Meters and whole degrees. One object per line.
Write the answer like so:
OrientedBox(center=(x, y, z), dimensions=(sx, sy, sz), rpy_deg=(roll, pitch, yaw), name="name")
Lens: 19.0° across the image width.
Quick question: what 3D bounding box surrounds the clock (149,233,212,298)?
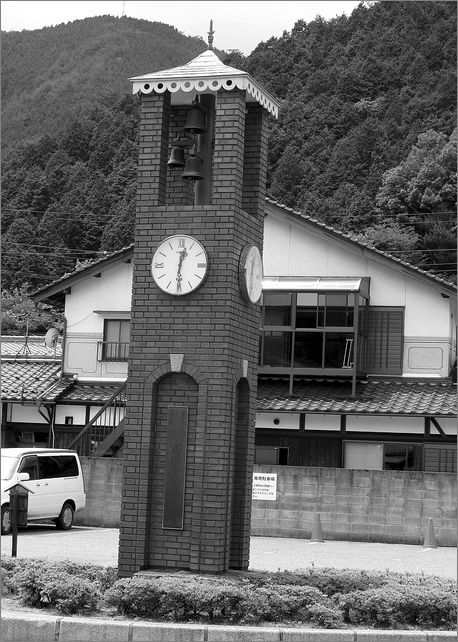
OrientedBox(center=(-0.534, -0.639, 16.198), dimensions=(0.659, 0.793, 0.100), rpy_deg=(-1, -11, 19), name="clock")
